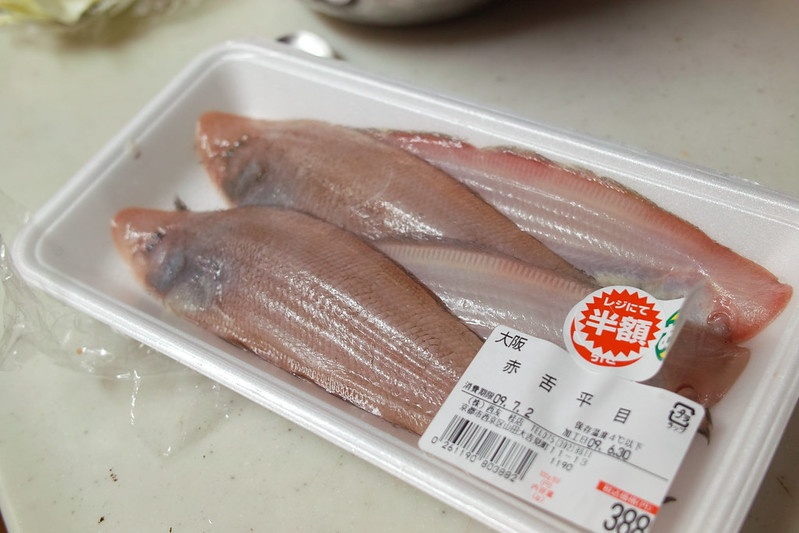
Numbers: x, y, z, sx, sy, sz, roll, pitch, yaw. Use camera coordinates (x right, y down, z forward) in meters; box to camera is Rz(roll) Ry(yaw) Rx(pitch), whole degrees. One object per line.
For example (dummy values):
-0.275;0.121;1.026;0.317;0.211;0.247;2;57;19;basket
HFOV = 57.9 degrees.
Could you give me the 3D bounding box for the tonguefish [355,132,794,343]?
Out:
0.308;-0.108;1.503;0.898;0.106;0.281;30;76;17;tonguefish
